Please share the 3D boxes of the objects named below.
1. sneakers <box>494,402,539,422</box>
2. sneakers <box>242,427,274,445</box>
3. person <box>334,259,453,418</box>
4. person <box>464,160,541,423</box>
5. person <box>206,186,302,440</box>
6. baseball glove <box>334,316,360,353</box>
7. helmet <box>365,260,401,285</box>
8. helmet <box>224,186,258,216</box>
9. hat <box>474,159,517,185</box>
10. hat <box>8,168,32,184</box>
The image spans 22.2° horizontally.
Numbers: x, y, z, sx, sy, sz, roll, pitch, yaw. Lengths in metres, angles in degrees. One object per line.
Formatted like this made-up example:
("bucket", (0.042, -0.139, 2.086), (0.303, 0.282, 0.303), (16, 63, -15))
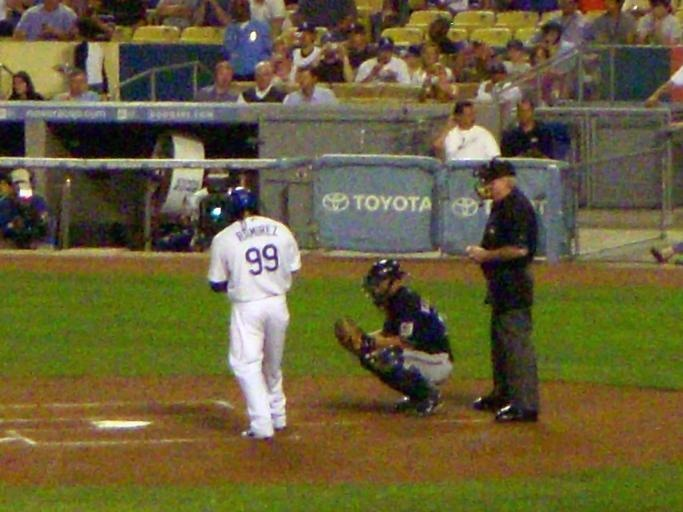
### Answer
("sneakers", (1.848, 1.670, 18.374), (0.336, 0.154, 0.211), (4, -4, 1))
("sneakers", (-0.824, 1.891, 18.064), (0.371, 0.181, 0.136), (8, 15, 4))
("person", (0.594, 0.879, 18.575), (1.178, 1.650, 0.542), (-1, 7, 1))
("person", (1.726, 0.394, 18.298), (0.666, 2.755, 0.385), (0, 7, 6))
("person", (-0.887, 0.632, 18.040), (0.919, 2.614, 0.524), (-1, 7, -4))
("baseball glove", (0.065, 0.854, 18.586), (0.229, 0.370, 0.229), (-28, 11, 1))
("helmet", (0.446, 0.179, 18.430), (0.319, 0.211, 0.235), (-9, 4, -25))
("helmet", (-1.012, -0.537, 18.194), (0.246, 0.315, 0.320), (-12, 40, -30))
("hat", (1.614, -0.878, 18.284), (0.303, 0.192, 0.258), (-9, -1, -6))
("hat", (-3.761, -0.927, 20.570), (0.167, 0.123, 0.179), (1, -1, 21))
